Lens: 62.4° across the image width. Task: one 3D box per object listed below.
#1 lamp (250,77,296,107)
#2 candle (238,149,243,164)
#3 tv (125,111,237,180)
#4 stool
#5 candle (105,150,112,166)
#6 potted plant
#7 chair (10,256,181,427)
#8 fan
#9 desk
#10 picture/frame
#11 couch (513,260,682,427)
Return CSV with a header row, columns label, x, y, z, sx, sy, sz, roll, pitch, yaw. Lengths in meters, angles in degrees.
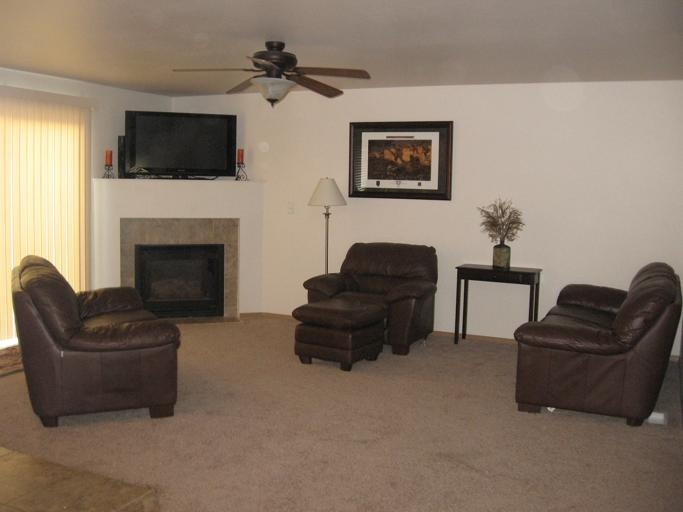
label,x,y,z,sx,sy,sz,roll,pitch,yaw
lamp,-0.546,-1.384,4.733,0.295,0.169,0.295,2,3,-2
candle,-1.276,-1.258,7.081,0.077,0.182,0.156,-1,11,-10
tv,-1.957,-1.337,6.808,1.294,0.765,0.302,-3,11,-19
stool,0.000,0.643,5.405,0.673,0.520,0.674,5,8,37
candle,-2.756,-1.160,6.645,0.067,0.179,0.139,-4,11,-23
potted plant,1.697,-0.239,6.030,0.509,0.729,0.505,4,11,17
chair,-1.906,0.642,4.493,1.137,1.169,1.752,-2,8,-22
fan,-0.472,-1.576,4.926,0.928,0.503,1.509,-3,11,-21
desk,1.686,0.498,5.969,0.823,0.824,0.350,3,5,29
picture/frame,0.737,-1.124,6.508,0.949,0.678,0.043,2,4,20
couch,2.065,0.644,4.555,1.077,1.069,1.155,6,12,26
